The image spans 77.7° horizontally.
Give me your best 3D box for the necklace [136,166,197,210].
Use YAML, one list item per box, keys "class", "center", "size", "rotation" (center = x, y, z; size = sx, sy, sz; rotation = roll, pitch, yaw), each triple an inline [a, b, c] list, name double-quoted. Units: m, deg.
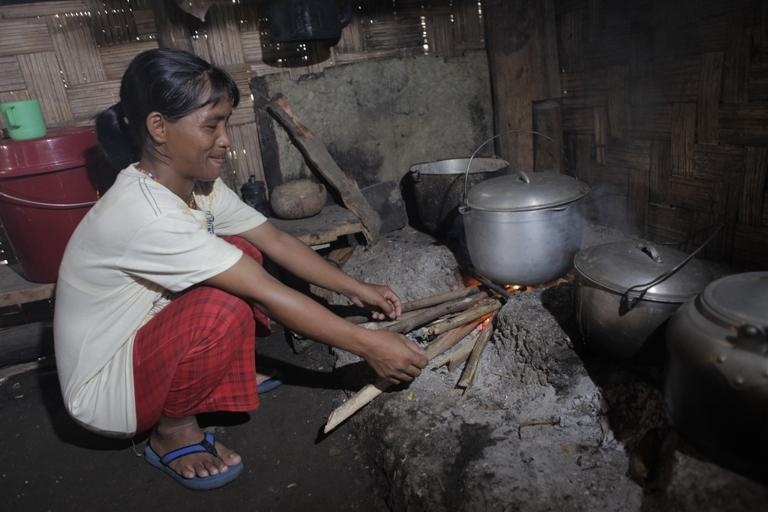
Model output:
- class: "necklace"
  center: [-1.455, -0.437, 3.294]
  size: [0.129, 0.285, 0.220]
  rotation: [-59, 11, -11]
